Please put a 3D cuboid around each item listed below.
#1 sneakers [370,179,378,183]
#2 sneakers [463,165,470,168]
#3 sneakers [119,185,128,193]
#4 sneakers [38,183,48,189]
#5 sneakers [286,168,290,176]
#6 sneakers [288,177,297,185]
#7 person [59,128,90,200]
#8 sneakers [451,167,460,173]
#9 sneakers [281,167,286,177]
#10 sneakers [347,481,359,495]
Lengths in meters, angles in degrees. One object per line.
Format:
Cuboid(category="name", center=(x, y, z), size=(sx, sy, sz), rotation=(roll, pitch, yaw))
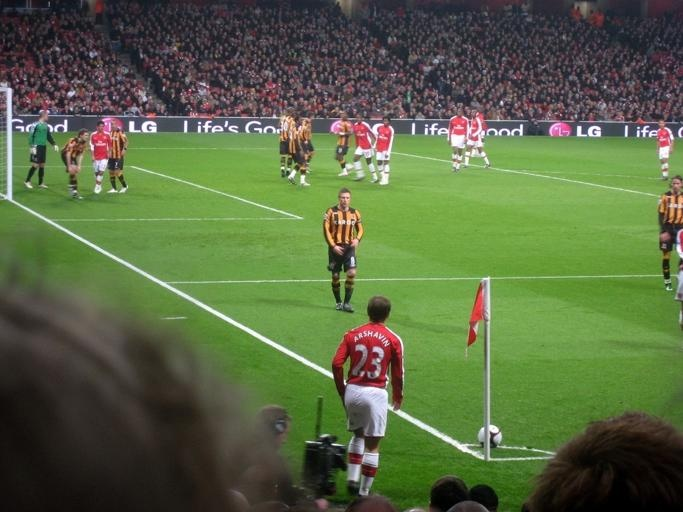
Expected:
Cuboid(category="sneakers", center=(0.838, -1.945, 26.885), size=(0.103, 0.112, 0.282), rotation=(2, 8, 6))
Cuboid(category="sneakers", center=(3.700, -2.662, 31.004), size=(0.132, 0.077, 0.132), rotation=(0, -2, 3))
Cuboid(category="sneakers", center=(-4.877, -1.490, 23.245), size=(0.120, 0.110, 0.299), rotation=(17, 1, -1))
Cuboid(category="sneakers", center=(-6.691, -1.562, 23.186), size=(0.249, 0.106, 0.090), rotation=(1, 11, 1))
Cuboid(category="sneakers", center=(-1.458, -2.310, 28.550), size=(0.065, 0.193, 0.137), rotation=(3, 11, -12))
Cuboid(category="sneakers", center=(-1.225, -1.849, 25.609), size=(0.204, 0.262, 0.566), rotation=(0, 5, -1))
Cuboid(category="person", center=(-5.606, -1.927, 21.771), size=(0.495, 1.422, 1.889), rotation=(2, 5, -15))
Cuboid(category="sneakers", center=(3.261, -2.459, 29.437), size=(0.304, 0.208, 0.101), rotation=(-12, 24, -39))
Cuboid(category="sneakers", center=(-1.524, -2.169, 27.131), size=(0.098, 0.126, 0.287), rotation=(0, -28, -2))
Cuboid(category="sneakers", center=(0.074, 1.491, 6.683), size=(0.115, 0.080, 0.038), rotation=(-4, 9, -35))
